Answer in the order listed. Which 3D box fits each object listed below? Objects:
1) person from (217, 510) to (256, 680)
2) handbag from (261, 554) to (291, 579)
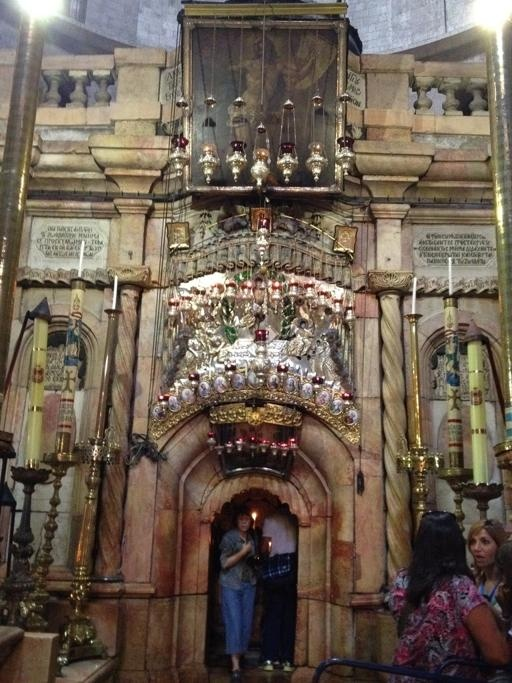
[{"bbox_3d":[-0.207,2.516,8.171,0.378,1.621,0.700,-1,-23,7],"label":"person"},{"bbox_3d":[0.222,2.320,8.419,0.208,0.075,0.207,-25,27,-25],"label":"handbag"}]
